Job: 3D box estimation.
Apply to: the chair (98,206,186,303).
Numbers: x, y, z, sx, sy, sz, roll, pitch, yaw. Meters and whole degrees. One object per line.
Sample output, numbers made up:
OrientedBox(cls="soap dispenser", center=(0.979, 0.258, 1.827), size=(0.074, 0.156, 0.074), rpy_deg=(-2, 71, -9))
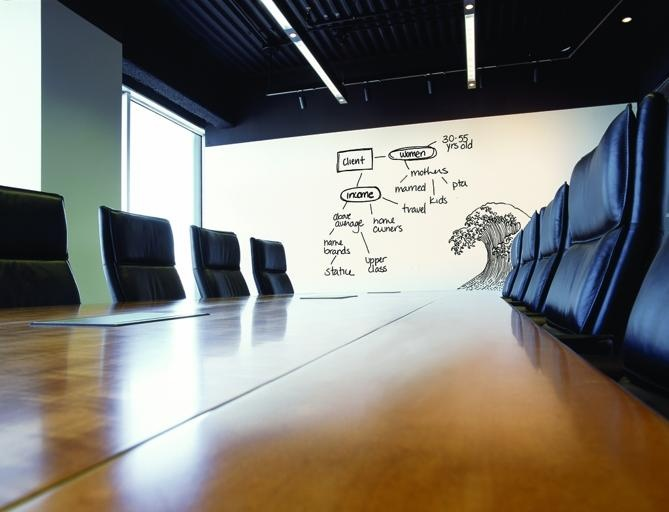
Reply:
OrientedBox(cls="chair", center=(-0.975, -0.002, 2.169), size=(0.206, 0.446, 0.439), rpy_deg=(-2, 1, 8))

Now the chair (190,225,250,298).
OrientedBox(cls="chair", center=(-0.804, 0.048, 2.932), size=(0.219, 0.396, 0.580), rpy_deg=(-2, 1, 7))
